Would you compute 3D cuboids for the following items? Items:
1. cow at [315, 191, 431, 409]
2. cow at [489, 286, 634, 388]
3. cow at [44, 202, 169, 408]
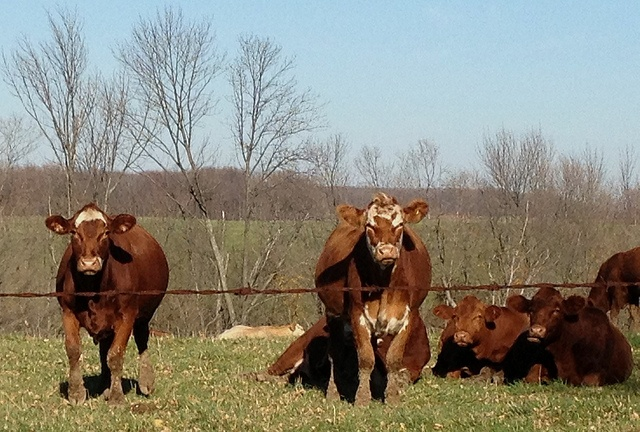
[{"bbox_3d":[1.276,1.611,24.348,2.830,4.618,4.357,0,8,1],"label":"cow"},{"bbox_3d":[5.830,2.919,24.410,1.470,1.724,3.801,-11,-27,34],"label":"cow"},{"bbox_3d":[-4.639,1.840,23.246,1.528,4.366,2.473,7,11,40],"label":"cow"}]
